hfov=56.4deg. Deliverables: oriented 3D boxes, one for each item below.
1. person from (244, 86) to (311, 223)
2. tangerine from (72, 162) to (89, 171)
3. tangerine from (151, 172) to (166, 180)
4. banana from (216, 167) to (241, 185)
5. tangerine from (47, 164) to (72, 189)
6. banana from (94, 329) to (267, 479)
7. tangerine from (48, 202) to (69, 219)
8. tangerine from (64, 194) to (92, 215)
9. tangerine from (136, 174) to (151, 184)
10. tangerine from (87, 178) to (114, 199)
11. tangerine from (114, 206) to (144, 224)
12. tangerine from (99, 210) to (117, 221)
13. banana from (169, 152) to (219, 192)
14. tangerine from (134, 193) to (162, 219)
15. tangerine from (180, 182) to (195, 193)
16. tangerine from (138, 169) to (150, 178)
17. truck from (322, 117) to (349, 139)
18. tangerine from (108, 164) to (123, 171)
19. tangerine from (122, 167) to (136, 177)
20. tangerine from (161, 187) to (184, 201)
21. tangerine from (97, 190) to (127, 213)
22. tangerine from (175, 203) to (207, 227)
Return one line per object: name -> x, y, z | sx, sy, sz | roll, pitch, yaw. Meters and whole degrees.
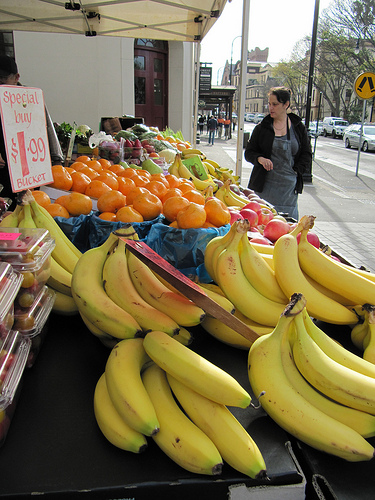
person -> 1.170, -1.188, 4.553 | 0.860, 1.673, 0.515 | 8, 23, 10
tangerine -> -0.766, -0.598, 2.474 | 0.088, 0.067, 0.112 | 3, 23, -5
tangerine -> -0.195, -0.481, 2.319 | 0.102, 0.074, 0.128 | -7, 12, -5
banana -> 0.425, -0.792, 3.707 | 0.150, 0.116, 0.397 | -32, 22, 7
tangerine -> -0.750, -0.423, 2.073 | 0.125, 0.135, 0.114 | -7, 25, -25
banana -> -0.037, 0.332, 0.826 | 0.241, 0.148, 0.392 | -8, 23, -37
tangerine -> -0.678, -0.210, 1.817 | 0.095, 0.078, 0.078 | 25, 15, -31
tangerine -> -0.588, -0.240, 1.888 | 0.131, 0.096, 0.100 | 31, 23, 29
tangerine -> -0.285, -0.465, 2.218 | 0.084, 0.046, 0.088 | 19, 15, -27
tangerine -> -0.510, -0.346, 2.025 | 0.165, 0.111, 0.114 | -9, 56, -22
tangerine -> -0.289, -0.175, 1.720 | 0.103, 0.057, 0.079 | 19, 24, -32
tangerine -> -0.407, -0.170, 1.770 | 0.069, 0.038, 0.055 | 4, 6, -33
banana -> 0.065, -0.701, 2.959 | 0.381, 0.234, 0.112 | 14, 43, 40
tangerine -> -0.202, -0.228, 1.858 | 0.139, 0.135, 0.134 | -8, 24, -13
tangerine -> 0.001, -0.372, 2.072 | 0.079, 0.064, 0.104 | -8, 32, 2
tangerine -> -0.309, -0.536, 2.481 | 0.075, 0.044, 0.098 | 3, 30, -30
truck -> 15.956, -13.141, 37.538 | 1.959, 2.088, 3.699 | -6, 22, -12
tangerine -> -0.517, -0.581, 2.490 | 0.090, 0.065, 0.069 | 16, 29, 11
tangerine -> -0.407, -0.556, 2.436 | 0.086, 0.062, 0.111 | -3, 33, -4
tangerine -> -0.084, -0.309, 1.888 | 0.079, 0.083, 0.098 | 19, 43, 11
tangerine -> -0.405, -0.254, 1.850 | 0.080, 0.101, 0.091 | 38, 44, -20
tangerine -> 0.020, -0.152, 1.636 | 0.141, 0.118, 0.117 | 3, 23, -2
